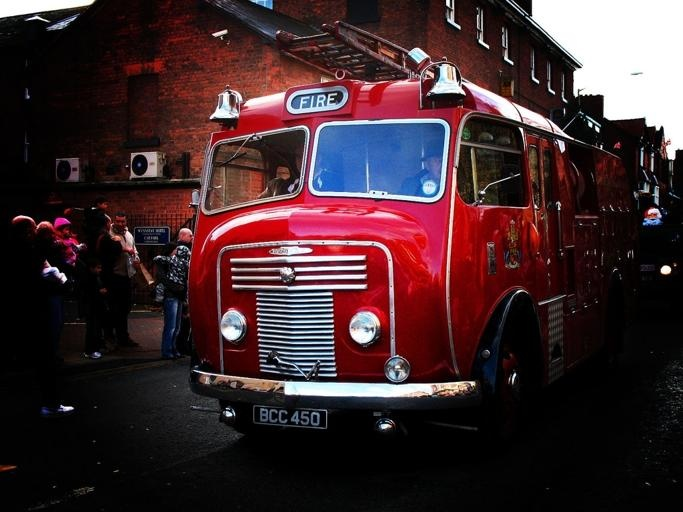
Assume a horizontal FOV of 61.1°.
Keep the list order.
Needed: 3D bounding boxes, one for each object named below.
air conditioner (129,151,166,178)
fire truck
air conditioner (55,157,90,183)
[{"bbox_3d":[-6.583,-2.935,19.794,1.378,1.183,0.786,0,-2,32],"label":"air conditioner"},{"bbox_3d":[1.846,0.081,8.229,3.374,3.589,7.557,-4,-2,39],"label":"fire truck"},{"bbox_3d":[-9.786,-3.113,21.246,1.314,1.051,0.817,-1,-4,27],"label":"air conditioner"}]
